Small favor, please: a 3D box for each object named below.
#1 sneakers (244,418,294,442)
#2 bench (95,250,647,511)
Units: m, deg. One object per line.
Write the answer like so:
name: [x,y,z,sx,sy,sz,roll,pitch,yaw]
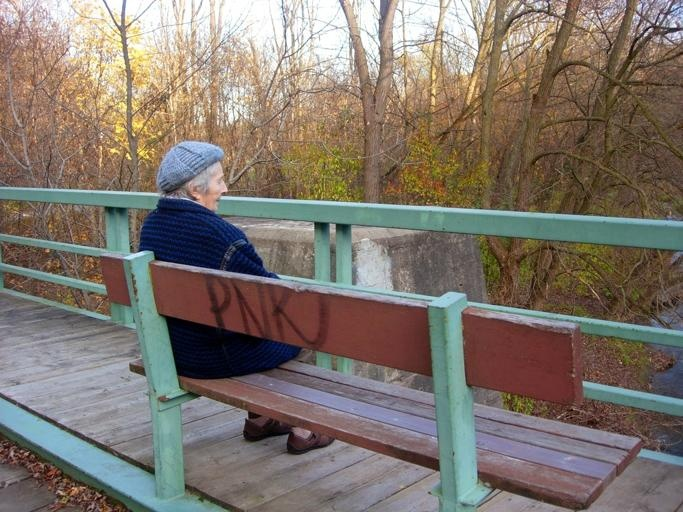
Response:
sneakers: [-0.365,0.867,2.768,0.241,0.101,0.126,-7,9,-35]
bench: [0.136,0.331,1.901,1.565,0.547,0.616,8,15,38]
